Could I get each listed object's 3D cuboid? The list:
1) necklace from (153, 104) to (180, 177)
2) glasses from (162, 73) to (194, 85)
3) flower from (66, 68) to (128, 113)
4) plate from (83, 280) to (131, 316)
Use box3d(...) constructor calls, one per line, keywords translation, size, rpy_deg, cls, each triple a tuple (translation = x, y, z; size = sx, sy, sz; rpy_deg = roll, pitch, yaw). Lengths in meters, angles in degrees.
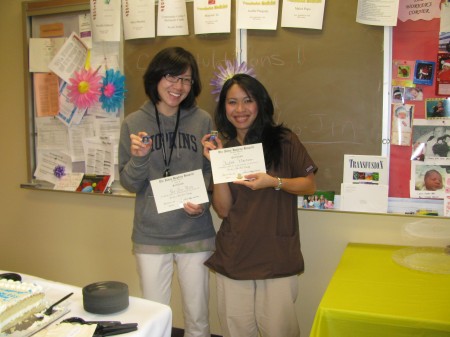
box3d(translation=(-0.343, -0.170, 2.114), size=(0.134, 0.436, 0.054), rpy_deg=(0, -14, -3), cls="necklace")
box3d(translation=(-0.272, -0.513, 2.037), size=(0.159, 0.048, 0.027), rpy_deg=(-2, 4, -18), cls="glasses")
box3d(translation=(-0.965, -0.634, 2.735), size=(0.387, 0.377, 0.141), rpy_deg=(41, 28, 10), cls="flower")
box3d(translation=(-0.494, 0.538, 1.461), size=(0.182, 0.099, 0.120), rpy_deg=(-2, 3, -16), cls="plate")
